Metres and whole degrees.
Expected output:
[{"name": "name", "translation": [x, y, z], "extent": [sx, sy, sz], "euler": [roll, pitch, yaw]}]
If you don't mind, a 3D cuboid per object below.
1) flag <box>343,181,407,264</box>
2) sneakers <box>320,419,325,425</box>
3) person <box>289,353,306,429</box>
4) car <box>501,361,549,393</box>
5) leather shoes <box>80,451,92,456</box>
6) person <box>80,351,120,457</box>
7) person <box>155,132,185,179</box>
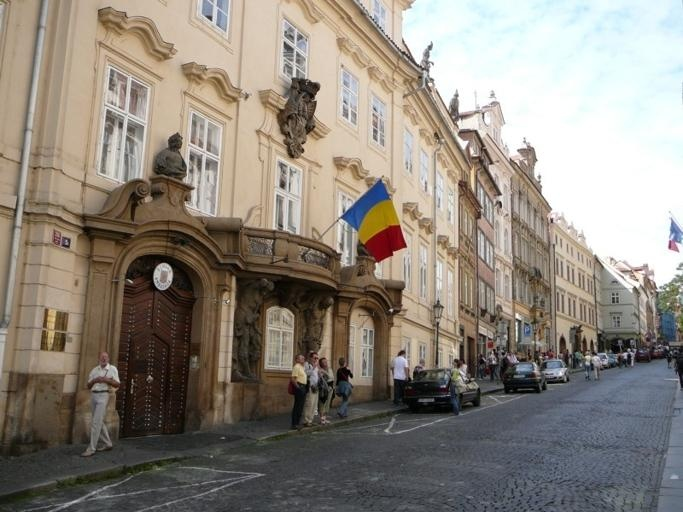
[{"name": "flag", "translation": [1.134, -1.280, 24.383], "extent": [2.199, 2.927, 0.365], "euler": [-34, 7, -4]}, {"name": "sneakers", "translation": [-0.577, 5.012, 18.806], "extent": [0.114, 0.200, 0.094], "euler": [10, -21, -20]}, {"name": "person", "translation": [-1.245, 3.855, 17.683], "extent": [0.433, 2.022, 0.688], "euler": [-2, -14, -4]}, {"name": "car", "translation": [9.670, 6.537, 33.471], "extent": [2.081, 1.746, 1.789], "euler": [-7, -16, 12]}, {"name": "leather shoes", "translation": [-5.343, 4.177, 13.107], "extent": [0.158, 0.074, 0.092], "euler": [11, -15, -35]}, {"name": "person", "translation": [-5.271, 3.237, 13.666], "extent": [0.648, 2.214, 0.795], "euler": [4, -16, -24]}, {"name": "person", "translation": [-4.640, -2.715, 17.172], "extent": [0.603, 1.388, 0.915], "euler": [-8, -14, 39]}]
